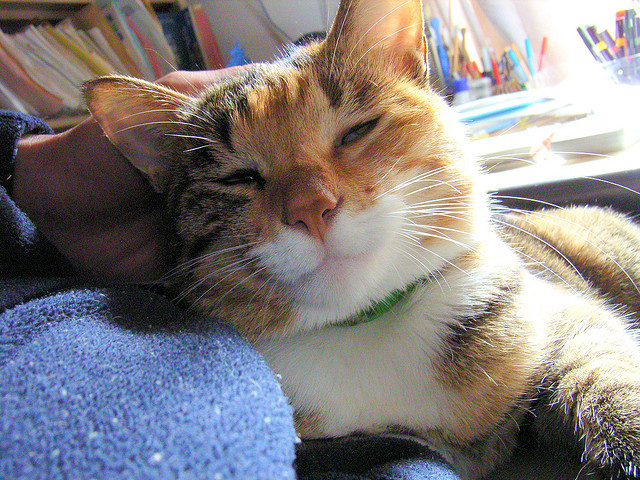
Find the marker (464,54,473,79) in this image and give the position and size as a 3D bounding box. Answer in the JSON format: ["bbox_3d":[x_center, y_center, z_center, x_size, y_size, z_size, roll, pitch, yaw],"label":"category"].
[{"bbox_3d":[0.468,-0.544,1.940,0.010,0.093,0.014,-1,-13,-38],"label":"marker"}]

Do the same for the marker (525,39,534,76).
[{"bbox_3d":[0.621,-0.540,1.818,0.018,0.128,0.016,-8,3,-6],"label":"marker"}]

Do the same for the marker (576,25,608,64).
[{"bbox_3d":[0.694,-0.491,1.562,0.027,0.145,0.023,-25,-14,11],"label":"marker"}]

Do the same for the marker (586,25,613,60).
[{"bbox_3d":[0.702,-0.494,1.543,0.024,0.124,0.022,-28,-5,16],"label":"marker"}]
